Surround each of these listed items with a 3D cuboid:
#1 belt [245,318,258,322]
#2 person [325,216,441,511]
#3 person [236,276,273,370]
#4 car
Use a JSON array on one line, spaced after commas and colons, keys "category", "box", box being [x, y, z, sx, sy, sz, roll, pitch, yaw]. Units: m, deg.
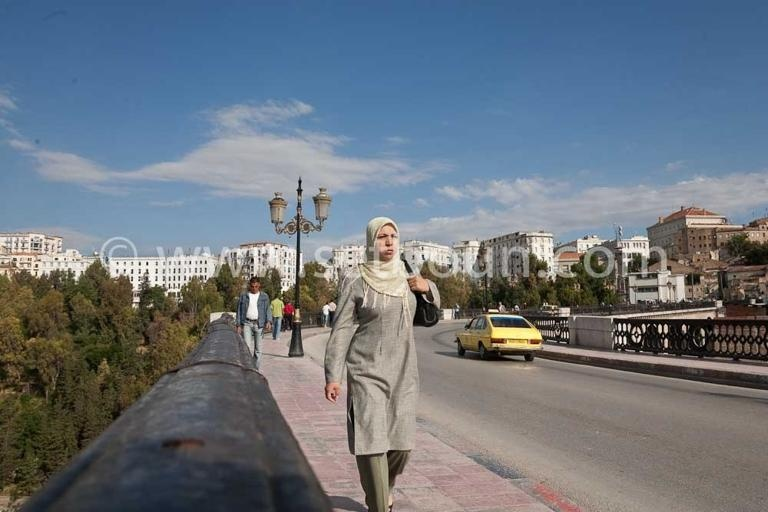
[{"category": "belt", "box": [-2.864, 1.340, 11.729, 0.227, 0.047, 0.052, 4, -3, -38]}, {"category": "person", "box": [-0.027, 0.805, 4.122, 0.851, 2.210, 0.567, 2, -1, -3]}, {"category": "person", "box": [-2.869, 1.442, 11.960, 0.740, 1.424, 1.618, 2, -2, -14]}, {"category": "car", "box": [3.658, 2.562, 17.774, 1.490, 1.370, 2.809, 3, -2, -26]}]
